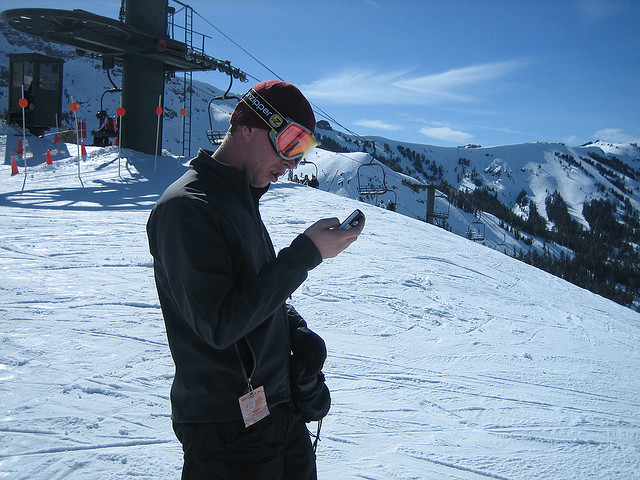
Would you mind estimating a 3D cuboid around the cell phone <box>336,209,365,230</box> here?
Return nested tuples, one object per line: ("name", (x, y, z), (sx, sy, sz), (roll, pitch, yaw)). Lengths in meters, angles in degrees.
("cell phone", (0.251, -0.159, 4.766), (0.197, 0.046, 0.141), (-33, 19, -3))

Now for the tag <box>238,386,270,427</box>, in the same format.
("tag", (-0.540, 1.326, 4.722), (0.269, 0.280, 0.034), (-28, 13, -32))
